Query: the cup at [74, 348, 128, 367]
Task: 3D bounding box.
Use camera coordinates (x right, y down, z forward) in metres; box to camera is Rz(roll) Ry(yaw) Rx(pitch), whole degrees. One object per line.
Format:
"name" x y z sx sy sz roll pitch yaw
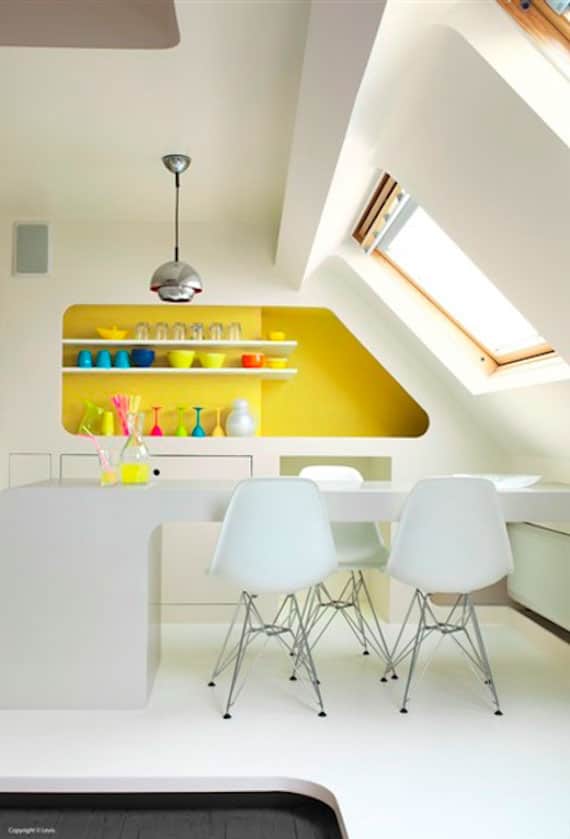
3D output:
"cup" -0.987 -0.334 3.672 0.295 0.126 0.233 0 -1 -18

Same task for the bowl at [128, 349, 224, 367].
"bowl" -0.593 -0.337 3.745 0.525 0.122 0.234 -1 -1 -4

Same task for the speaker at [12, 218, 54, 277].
"speaker" -1.251 -0.841 3.307 0.171 0.219 0.196 0 -1 -22

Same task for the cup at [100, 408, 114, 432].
"cup" -0.940 0.016 3.571 0.069 0.128 0.172 0 -1 -15

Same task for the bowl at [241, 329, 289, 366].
"bowl" -0.139 -0.389 3.757 0.269 0.287 0.149 3 -3 -17

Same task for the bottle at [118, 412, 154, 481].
"bottle" -0.523 0.100 2.323 0.103 0.234 0.136 0 -1 -14

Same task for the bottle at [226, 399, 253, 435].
"bottle" -0.215 -0.003 3.675 0.158 0.246 0.164 0 -15 0

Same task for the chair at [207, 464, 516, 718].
"chair" 0.294 0.641 2.412 0.731 0.636 0.369 0 -3 -3

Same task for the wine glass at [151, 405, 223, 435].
"wine glass" -0.537 0.002 3.686 0.416 0.164 0.187 -1 -1 -5
